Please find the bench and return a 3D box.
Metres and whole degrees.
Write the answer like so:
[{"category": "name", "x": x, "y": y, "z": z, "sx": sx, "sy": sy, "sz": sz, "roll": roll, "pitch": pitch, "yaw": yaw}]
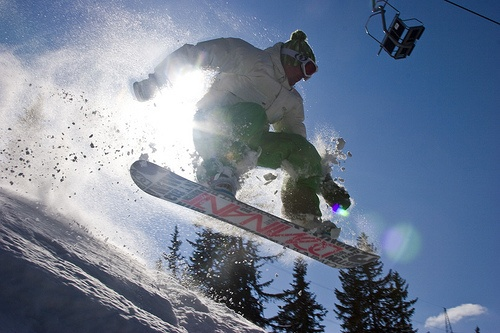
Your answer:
[{"category": "bench", "x": 3.936, "y": -3.270, "z": 12.184, "sx": 0.827, "sy": 1.065, "sz": 1.115, "roll": 26, "pitch": -15, "yaw": 8}]
